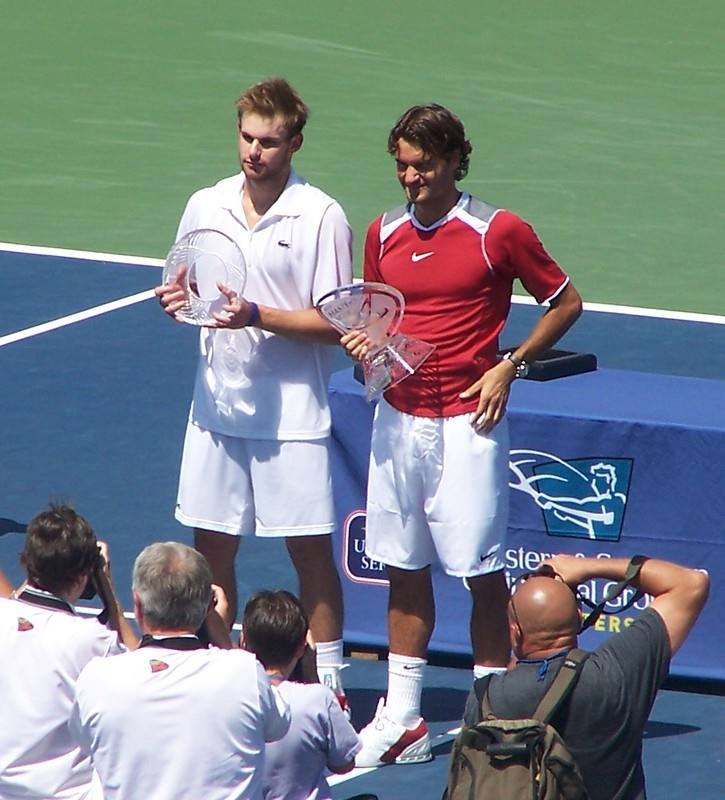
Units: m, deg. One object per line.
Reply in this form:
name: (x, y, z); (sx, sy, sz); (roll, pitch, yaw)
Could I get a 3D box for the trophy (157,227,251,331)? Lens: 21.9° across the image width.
trophy: (-0.581, -0.457, 6.852); (0.329, 0.348, 0.157); (18, 23, 40)

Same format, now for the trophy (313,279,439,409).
trophy: (0.058, -0.251, 6.755); (0.347, 0.455, 0.136); (-38, -14, -4)

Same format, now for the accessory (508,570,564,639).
accessory: (0.549, 0.618, 5.724); (0.204, 0.219, 0.185); (1, 14, 5)

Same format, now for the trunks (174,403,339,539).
trunks: (-0.352, 0.321, 7.209); (0.811, 0.608, 0.420); (2, -2, 14)
